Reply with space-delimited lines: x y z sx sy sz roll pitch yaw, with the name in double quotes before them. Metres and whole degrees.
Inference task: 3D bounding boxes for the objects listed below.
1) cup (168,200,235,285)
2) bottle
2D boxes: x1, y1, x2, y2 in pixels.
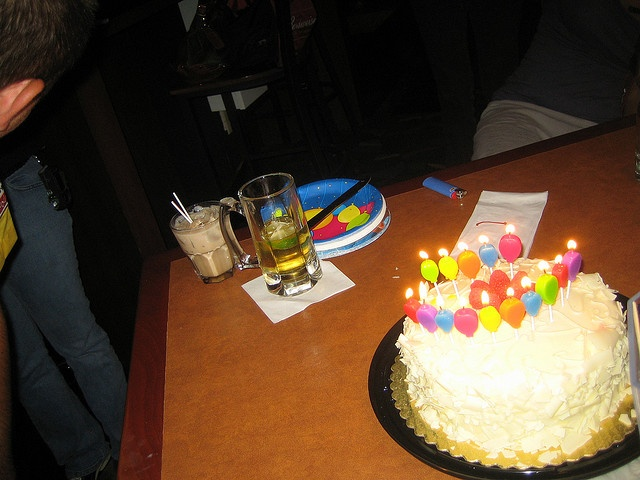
"cup" -0.301 0.026 1.265 0.127 0.152 0.129 -12 16 3
"bottle" -0.634 -1.021 2.486 0.244 0.358 0.091 -19 18 -9
